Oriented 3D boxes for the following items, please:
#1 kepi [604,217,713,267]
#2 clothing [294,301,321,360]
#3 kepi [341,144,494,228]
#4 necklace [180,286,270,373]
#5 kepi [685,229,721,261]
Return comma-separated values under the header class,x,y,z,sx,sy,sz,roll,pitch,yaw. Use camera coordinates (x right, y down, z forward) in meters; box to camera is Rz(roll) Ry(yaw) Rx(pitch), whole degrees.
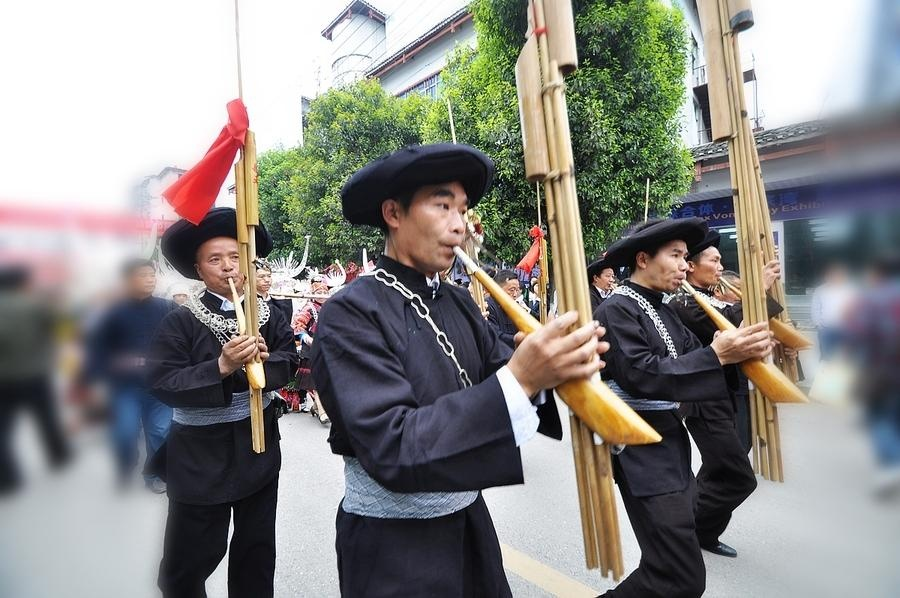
class,x,y,z,sx,sy,sz,roll,pitch,yaw
kepi,1.249,-0.367,3.878,0.418,0.135,0.400,-29,-6,40
clothing,-1.423,0.304,6.220,0.218,0.625,0.323,-16,-43,4
kepi,-0.176,-0.522,2.760,0.500,0.171,0.459,-25,-21,18
necklace,-1.379,0.160,3.812,0.421,0.525,0.131,-19,-36,-57
kepi,1.806,-0.384,4.488,0.236,0.094,0.215,-27,-19,1
